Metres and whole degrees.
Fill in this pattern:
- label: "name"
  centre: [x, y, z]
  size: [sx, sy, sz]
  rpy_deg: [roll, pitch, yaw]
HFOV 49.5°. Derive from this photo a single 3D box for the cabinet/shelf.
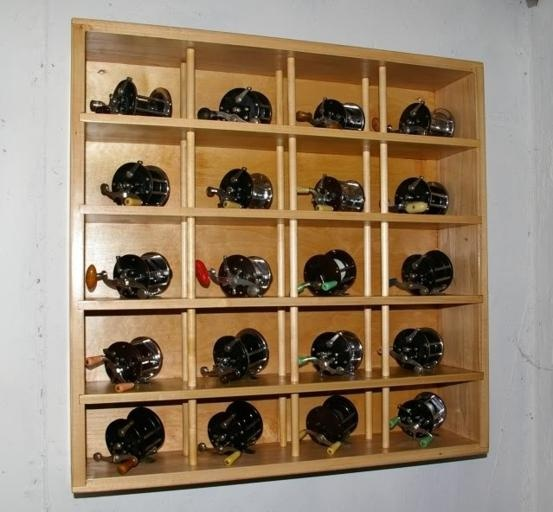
- label: "cabinet/shelf"
  centre: [0.049, 0.028, 2.285]
  size: [1.601, 1.660, 0.633]
  rpy_deg: [-1, 9, -19]
